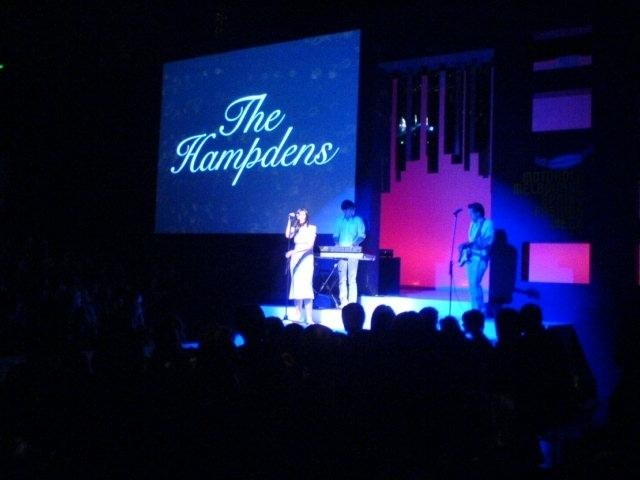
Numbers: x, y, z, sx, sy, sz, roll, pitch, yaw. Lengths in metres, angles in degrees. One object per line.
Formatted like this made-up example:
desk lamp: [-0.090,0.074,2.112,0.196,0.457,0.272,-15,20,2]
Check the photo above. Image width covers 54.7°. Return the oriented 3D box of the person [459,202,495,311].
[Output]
person: [2.095,0.203,8.305,0.461,1.464,0.561,1,-5,18]
